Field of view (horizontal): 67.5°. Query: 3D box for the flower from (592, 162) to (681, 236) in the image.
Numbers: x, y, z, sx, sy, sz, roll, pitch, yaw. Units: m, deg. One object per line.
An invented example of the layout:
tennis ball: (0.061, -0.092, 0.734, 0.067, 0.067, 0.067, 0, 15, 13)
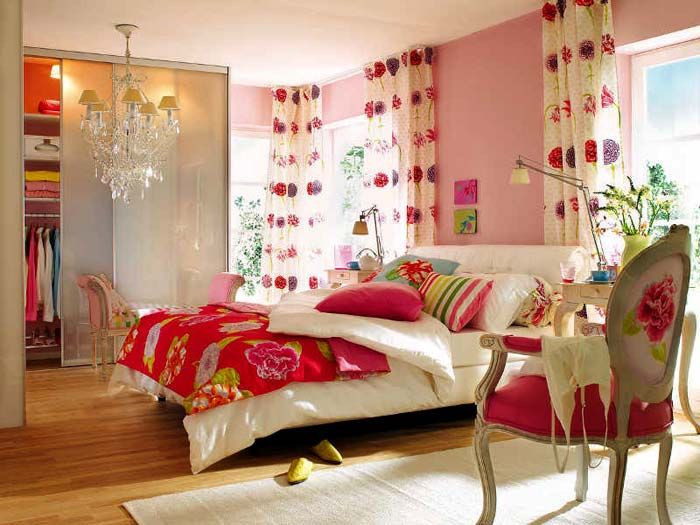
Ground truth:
flower: (2.010, -0.470, 3.872, 0.684, 0.669, 0.539, -1, 0, 35)

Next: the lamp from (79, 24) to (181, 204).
lamp: (-2.212, -1.464, 5.380, 0.992, 1.616, 0.989, -1, 1, -25)

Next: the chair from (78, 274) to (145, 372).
chair: (-2.304, 0.590, 5.230, 0.669, 0.899, 0.555, 1, 1, -39)

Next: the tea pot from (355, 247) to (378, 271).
tea pot: (0.239, -0.033, 5.812, 0.291, 0.253, 0.203, -2, 4, -17)

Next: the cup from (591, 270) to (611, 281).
cup: (1.640, 0.087, 3.427, 0.078, 0.039, 0.079, -1, -3, 0)

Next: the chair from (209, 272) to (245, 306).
chair: (-1.254, 0.258, 5.192, 0.352, 0.443, 0.313, 4, -1, -43)

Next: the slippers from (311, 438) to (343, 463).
slippers: (-0.125, 1.030, 2.874, 0.059, 0.087, 0.141, 33, -7, -36)

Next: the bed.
bed: (-0.214, 0.494, 3.863, 2.541, 1.046, 2.303, 3, -3, -36)
